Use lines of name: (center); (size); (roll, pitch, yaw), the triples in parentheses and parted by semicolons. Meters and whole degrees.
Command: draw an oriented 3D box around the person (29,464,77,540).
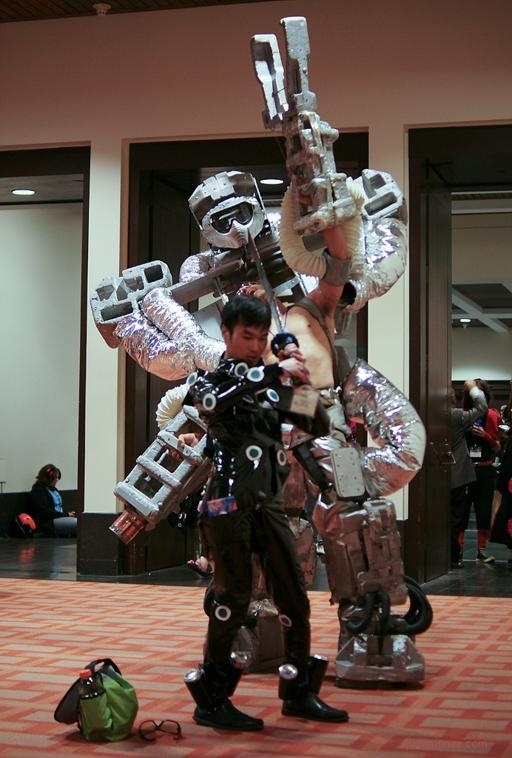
person: (-2.249, 1.356, 7.583); (0.394, 0.760, 0.754); (2, -4, -38)

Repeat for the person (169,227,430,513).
person: (0.204, -0.087, 1.980); (0.810, 0.702, 0.292); (-15, -40, 13)

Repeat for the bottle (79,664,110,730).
bottle: (-0.350, 0.697, 1.460); (0.060, 0.139, 0.056); (-1, -3, 0)

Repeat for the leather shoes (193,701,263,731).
leather shoes: (-0.060, 0.757, 1.507); (0.174, 0.061, 0.060); (-5, -11, 22)

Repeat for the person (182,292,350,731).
person: (0.011, 0.307, 1.509); (0.367, 0.977, 0.271); (-1, -3, 6)

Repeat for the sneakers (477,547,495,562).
sneakers: (1.906, 1.457, 5.564); (0.083, 0.088, 0.211); (1, -19, -8)
